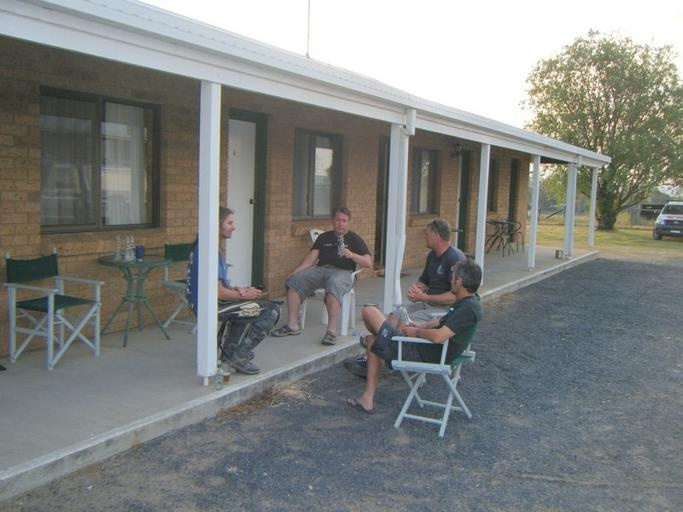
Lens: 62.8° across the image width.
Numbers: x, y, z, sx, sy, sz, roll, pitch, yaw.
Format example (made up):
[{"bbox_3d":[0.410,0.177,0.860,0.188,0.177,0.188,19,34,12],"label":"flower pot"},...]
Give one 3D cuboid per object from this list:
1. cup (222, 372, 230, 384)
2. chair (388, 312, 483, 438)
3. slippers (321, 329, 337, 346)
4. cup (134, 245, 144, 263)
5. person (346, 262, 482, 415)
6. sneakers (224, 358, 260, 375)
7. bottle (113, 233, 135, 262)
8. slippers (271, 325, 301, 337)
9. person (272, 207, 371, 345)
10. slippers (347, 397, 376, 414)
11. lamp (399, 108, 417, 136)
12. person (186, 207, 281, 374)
[{"bbox_3d":[-1.112,1.173,5.343,0.082,0.087,0.080,4,-1,0],"label":"cup"},{"bbox_3d":[0.921,1.099,5.515,0.874,1.095,0.918,2,2,23],"label":"chair"},{"bbox_3d":[-0.140,0.977,6.716,0.229,0.150,0.201,2,11,-18],"label":"slippers"},{"bbox_3d":[-2.304,-0.029,6.337,0.098,0.170,0.193,0,12,-24],"label":"cup"},{"bbox_3d":[0.858,0.836,5.581,1.168,1.317,1.138,-7,3,6],"label":"person"},{"bbox_3d":[-0.996,1.107,5.601,0.329,0.139,0.146,2,9,4],"label":"sneakers"},{"bbox_3d":[-2.533,-0.092,6.527,0.349,0.351,0.285,7,6,36],"label":"bottle"},{"bbox_3d":[-0.692,0.917,6.922,0.313,0.102,0.129,1,-2,-43],"label":"slippers"},{"bbox_3d":[-0.197,0.185,7.286,1.233,1.715,1.017,3,1,-42],"label":"person"},{"bbox_3d":[0.192,1.450,5.437,0.251,0.099,0.101,30,19,24],"label":"slippers"},{"bbox_3d":[0.965,-1.890,7.893,0.162,0.375,0.318,7,11,9],"label":"lamp"},{"bbox_3d":[-1.078,0.349,5.638,0.929,1.608,0.579,2,11,-16],"label":"person"}]
